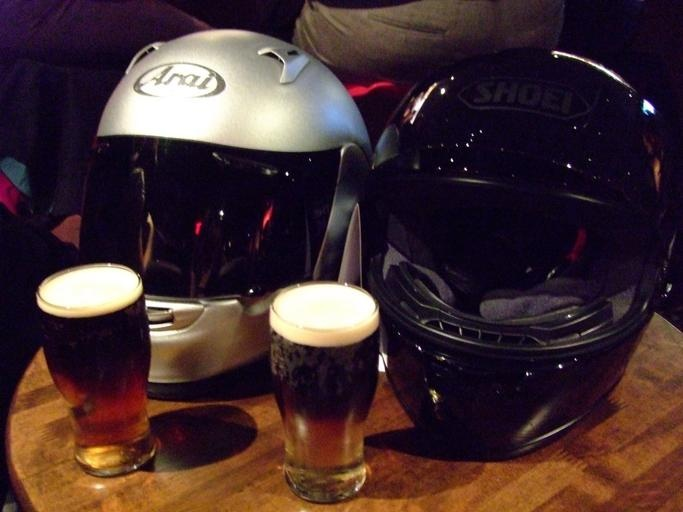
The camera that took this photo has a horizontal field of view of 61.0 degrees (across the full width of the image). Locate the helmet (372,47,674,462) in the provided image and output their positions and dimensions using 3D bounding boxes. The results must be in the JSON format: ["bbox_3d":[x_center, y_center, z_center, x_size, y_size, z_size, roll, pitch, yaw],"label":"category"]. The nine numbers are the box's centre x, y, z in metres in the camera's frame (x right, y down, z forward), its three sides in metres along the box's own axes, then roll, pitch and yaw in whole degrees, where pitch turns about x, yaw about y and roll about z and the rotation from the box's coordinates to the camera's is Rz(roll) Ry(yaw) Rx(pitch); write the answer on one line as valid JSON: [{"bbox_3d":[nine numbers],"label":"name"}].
[{"bbox_3d":[0.238,-0.078,0.897,0.375,0.450,0.517,12,30,23],"label":"helmet"}]

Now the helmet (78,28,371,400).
[{"bbox_3d":[-0.168,-0.106,0.980,0.402,0.524,0.507,9,18,25],"label":"helmet"}]

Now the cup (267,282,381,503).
[{"bbox_3d":[-0.022,0.163,0.701,0.123,0.228,0.131,1,28,-1],"label":"cup"}]

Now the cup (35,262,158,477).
[{"bbox_3d":[-0.301,0.148,0.745,0.122,0.239,0.129,0,18,0],"label":"cup"}]
